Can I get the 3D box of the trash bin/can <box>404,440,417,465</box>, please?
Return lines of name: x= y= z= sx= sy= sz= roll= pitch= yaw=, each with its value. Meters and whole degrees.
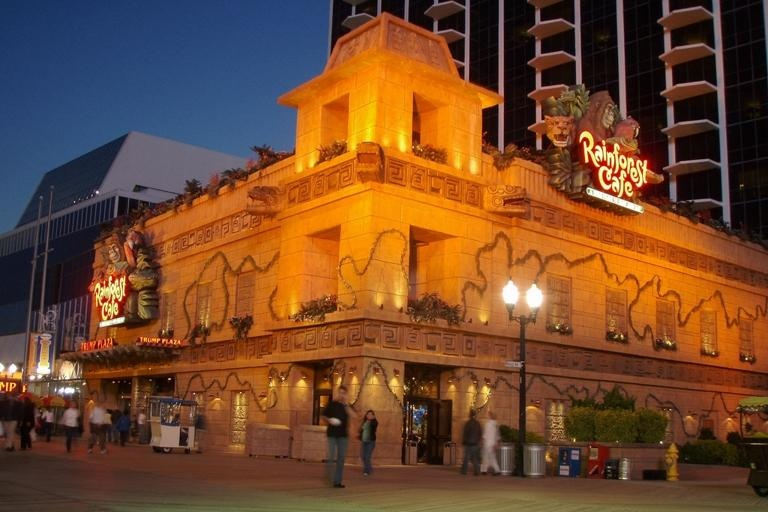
trash bin/can: x=1.266 y=9.536 z=36.516 sx=0.518 sy=1.097 sz=0.841 roll=3 pitch=-19 yaw=-6

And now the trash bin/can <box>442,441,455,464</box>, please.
trash bin/can: x=3.204 y=9.611 z=36.789 sx=0.557 sy=1.079 sz=0.389 roll=0 pitch=-19 yaw=5

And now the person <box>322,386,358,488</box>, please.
person: x=-1.530 y=5.938 z=24.906 sx=1.107 sy=3.170 sz=1.166 roll=7 pitch=-19 yaw=-19
